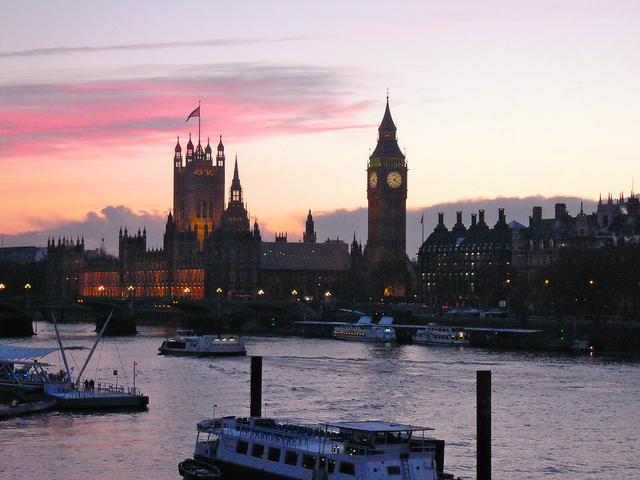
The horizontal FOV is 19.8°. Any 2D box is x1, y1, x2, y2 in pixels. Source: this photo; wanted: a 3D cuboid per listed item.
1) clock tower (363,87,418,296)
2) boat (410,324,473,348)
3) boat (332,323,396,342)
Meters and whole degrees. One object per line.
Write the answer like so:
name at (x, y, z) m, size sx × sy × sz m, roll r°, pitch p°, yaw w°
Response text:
clock tower at (9.192, -6.294, 258.904) m, size 5.310 × 26.698 × 4.454 m, roll 0°, pitch -5°, yaw 1°
boat at (12.097, 9.173, 188.565) m, size 2.024 × 1.660 × 5.261 m, roll 1°, pitch 3°, yaw -43°
boat at (4.605, 9.338, 200.096) m, size 6.133 × 1.235 × 2.360 m, roll 3°, pitch 4°, yaw 45°
